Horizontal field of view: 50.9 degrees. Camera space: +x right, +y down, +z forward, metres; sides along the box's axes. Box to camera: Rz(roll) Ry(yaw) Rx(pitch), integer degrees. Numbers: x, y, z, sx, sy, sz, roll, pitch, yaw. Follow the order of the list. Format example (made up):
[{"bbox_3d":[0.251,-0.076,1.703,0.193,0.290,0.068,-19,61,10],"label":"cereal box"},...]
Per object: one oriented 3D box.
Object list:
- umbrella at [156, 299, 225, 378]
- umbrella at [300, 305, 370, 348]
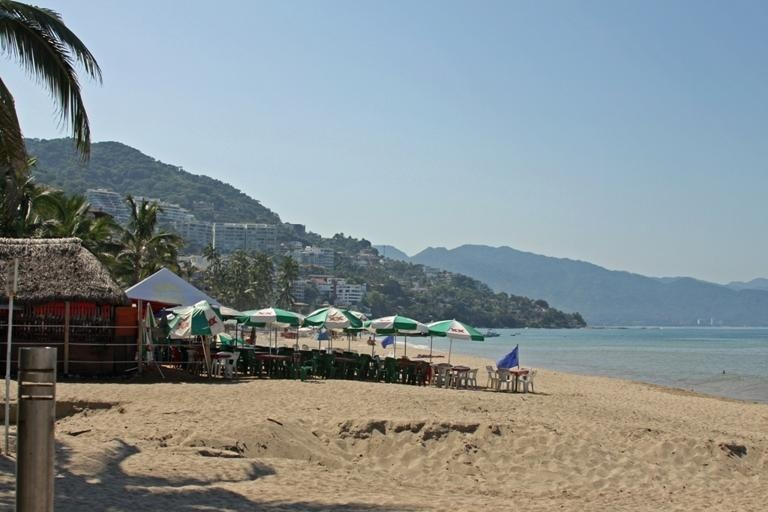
[{"bbox_3d":[-5.969,2.602,24.726,2.465,2.327,2.455,2,9,-1],"label":"umbrella"},{"bbox_3d":[-1.744,2.201,27.604,2.060,0.898,2.502,3,-2,-2],"label":"umbrella"}]
